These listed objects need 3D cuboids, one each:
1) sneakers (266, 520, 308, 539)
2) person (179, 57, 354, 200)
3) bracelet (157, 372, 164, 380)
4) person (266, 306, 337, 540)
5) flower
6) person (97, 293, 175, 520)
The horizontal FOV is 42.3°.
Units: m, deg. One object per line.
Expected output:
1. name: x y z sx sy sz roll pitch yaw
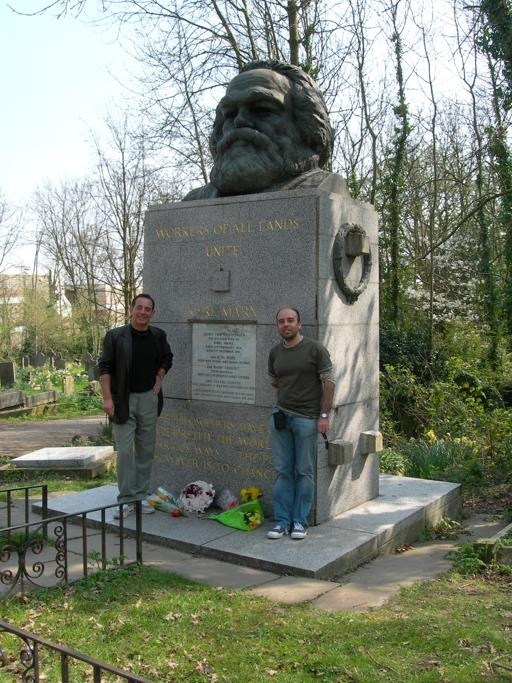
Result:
1. sneakers: 0.262 1.555 5.430 0.320 0.121 0.124 14 -29 -16
2. person: 0.134 -2.069 6.859 1.769 1.476 1.143 2 -7 27
3. bracelet: -0.872 0.318 6.056 0.051 0.069 0.053 16 27 2
4. person: 0.358 0.775 5.498 0.524 1.659 0.372 1 -1 1
5. flower: -0.431 1.496 6.067 0.684 0.218 0.456 -5 5 13
6. person: -1.093 0.507 5.850 0.530 1.821 0.688 1 -1 6
